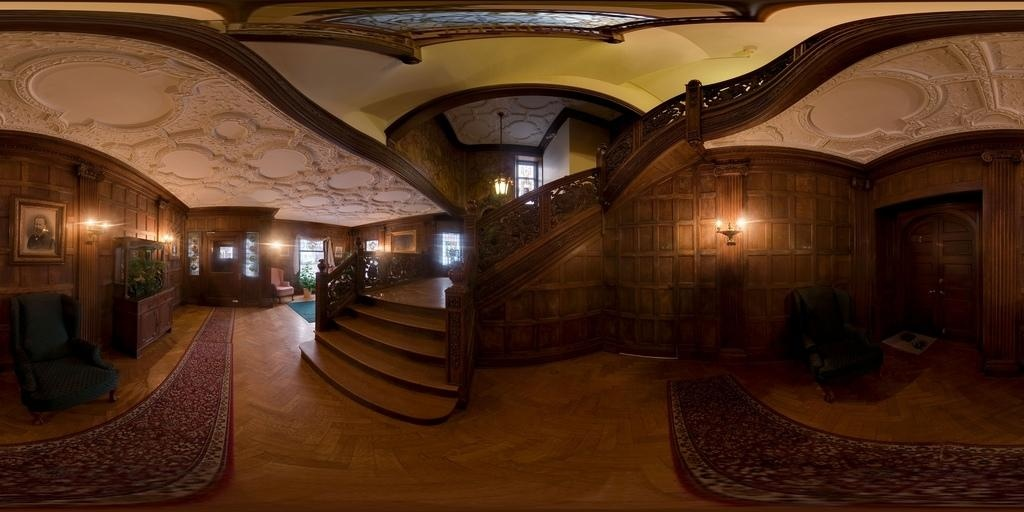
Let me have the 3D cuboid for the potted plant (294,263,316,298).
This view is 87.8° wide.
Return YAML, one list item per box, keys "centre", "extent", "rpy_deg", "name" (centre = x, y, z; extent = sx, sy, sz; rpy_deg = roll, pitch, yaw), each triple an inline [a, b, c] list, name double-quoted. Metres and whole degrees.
- centre: [-7.094, 0.950, 18.558]
  extent: [0.713, 0.829, 0.635]
  rpy_deg: [2, -2, -36]
  name: "potted plant"

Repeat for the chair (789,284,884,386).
- centre: [6.800, 1.635, 11.250]
  extent: [1.466, 1.879, 1.067]
  rpy_deg: [3, -1, 1]
  name: "chair"
